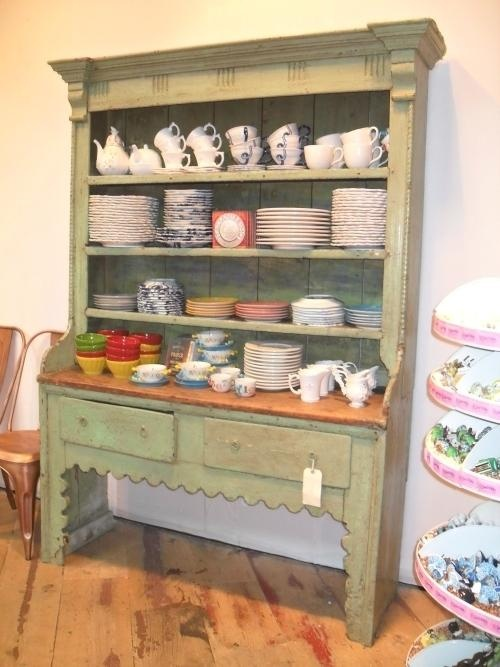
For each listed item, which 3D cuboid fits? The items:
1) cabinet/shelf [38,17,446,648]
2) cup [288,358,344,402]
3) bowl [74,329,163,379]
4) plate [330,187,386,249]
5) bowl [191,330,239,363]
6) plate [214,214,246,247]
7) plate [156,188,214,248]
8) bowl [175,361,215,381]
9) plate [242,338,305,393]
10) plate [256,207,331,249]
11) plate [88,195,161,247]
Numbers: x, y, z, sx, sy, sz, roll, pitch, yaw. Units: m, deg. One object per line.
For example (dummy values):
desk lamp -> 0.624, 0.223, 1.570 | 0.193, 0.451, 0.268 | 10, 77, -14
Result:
cabinet/shelf -> -0.134, -0.024, 2.331 | 1.606, 2.064, 0.503 | 6, 10, 26
cup -> 0.235, 0.165, 2.129 | 0.150, 0.101, 0.150 | -2, 15, 0
bowl -> -0.560, 0.074, 2.466 | 0.208, 0.126, 0.277 | -4, 5, -44
plate -> 0.371, -0.411, 2.051 | 0.208, 0.197, 0.204 | 11, 18, 36
bowl -> -0.150, 0.060, 2.435 | 0.153, 0.083, 0.149 | 0, 8, 0
plate -> -0.077, -0.399, 2.245 | 0.132, 0.123, 0.032 | -1, 9, 33
plate -> -0.246, -0.455, 2.313 | 0.229, 0.175, 0.229 | -7, 13, -42
bowl -> -0.207, 0.139, 2.298 | 0.081, 0.042, 0.114 | -7, 11, -26
plate -> 0.087, 0.116, 2.280 | 0.206, 0.136, 0.200 | 2, 8, 9
plate -> 0.145, -0.363, 2.155 | 0.200, 0.084, 0.194 | -1, 7, -11
plate -> -0.520, -0.450, 2.418 | 0.246, 0.141, 0.242 | -3, 11, -24
